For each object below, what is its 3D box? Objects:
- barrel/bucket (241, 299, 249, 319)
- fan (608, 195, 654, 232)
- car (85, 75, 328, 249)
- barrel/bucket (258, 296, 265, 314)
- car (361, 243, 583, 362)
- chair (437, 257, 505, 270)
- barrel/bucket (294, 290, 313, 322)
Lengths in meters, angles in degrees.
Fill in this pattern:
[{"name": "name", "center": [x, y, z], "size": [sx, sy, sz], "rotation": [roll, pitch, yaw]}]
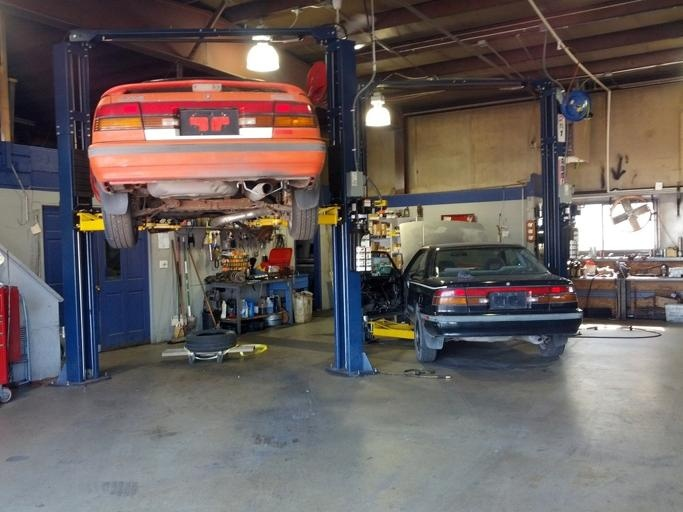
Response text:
[{"name": "barrel/bucket", "center": [-1.760, 0.961, 10.353], "size": [0.136, 0.326, 0.345], "rotation": [-2, 6, -9]}, {"name": "fan", "center": [6.579, -0.966, 12.872], "size": [0.862, 0.783, 1.497], "rotation": [2, 7, 29]}, {"name": "car", "center": [-1.354, -1.036, 5.488], "size": [1.587, 1.063, 2.457], "rotation": [-1, 10, -5]}, {"name": "barrel/bucket", "center": [-1.518, 0.941, 10.805], "size": [0.161, 0.250, 0.248], "rotation": [0, -3, -10]}, {"name": "car", "center": [1.676, 0.506, 7.609], "size": [1.778, 0.832, 2.506], "rotation": [-2, 2, -5]}, {"name": "chair", "center": [1.736, 0.121, 7.668], "size": [0.869, 0.146, 0.205], "rotation": [0, 28, 8]}, {"name": "barrel/bucket", "center": [-0.735, 1.043, 11.806], "size": [0.502, 0.723, 0.558], "rotation": [-2, -4, 21]}]
